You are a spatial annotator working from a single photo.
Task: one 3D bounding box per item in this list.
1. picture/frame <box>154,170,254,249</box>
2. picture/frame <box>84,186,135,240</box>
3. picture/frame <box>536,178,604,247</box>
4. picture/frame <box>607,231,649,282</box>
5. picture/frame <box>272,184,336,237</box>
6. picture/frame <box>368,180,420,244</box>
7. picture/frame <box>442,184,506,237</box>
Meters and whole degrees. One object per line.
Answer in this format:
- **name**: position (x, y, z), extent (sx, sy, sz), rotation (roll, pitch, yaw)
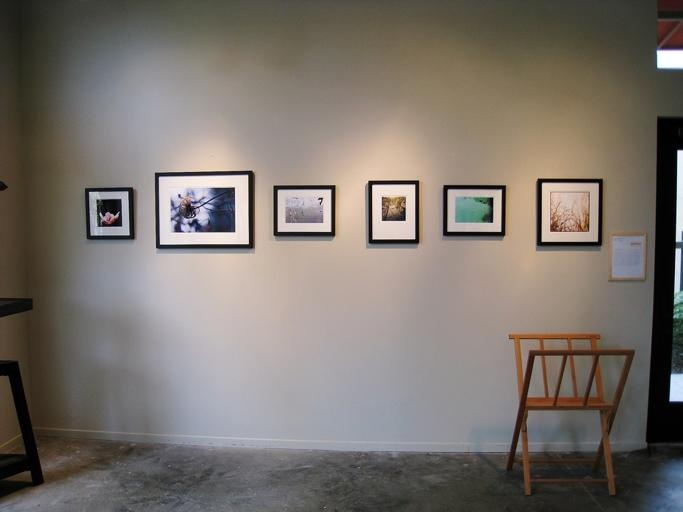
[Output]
- **picture/frame**: position (-1.172, -0.434, 5.073), extent (0.666, 0.552, 0.025), rotation (0, 1, 1)
- **picture/frame**: position (-2.050, -0.398, 5.134), extent (0.456, 0.512, 0.036), rotation (0, 0, 0)
- **picture/frame**: position (1.968, -0.398, 4.971), extent (0.549, 0.581, 0.039), rotation (1, -1, 1)
- **picture/frame**: position (2.454, 0.003, 4.981), extent (0.016, 0.425, 0.313), rotation (0, 0, -45)
- **picture/frame**: position (-0.311, -0.412, 5.028), extent (0.441, 0.391, 0.023), rotation (0, -1, 1)
- **picture/frame**: position (0.450, -0.404, 4.993), extent (0.514, 0.629, 0.046), rotation (0, -2, -2)
- **picture/frame**: position (1.148, -0.410, 4.981), extent (0.418, 0.370, 0.021), rotation (0, -1, -1)
